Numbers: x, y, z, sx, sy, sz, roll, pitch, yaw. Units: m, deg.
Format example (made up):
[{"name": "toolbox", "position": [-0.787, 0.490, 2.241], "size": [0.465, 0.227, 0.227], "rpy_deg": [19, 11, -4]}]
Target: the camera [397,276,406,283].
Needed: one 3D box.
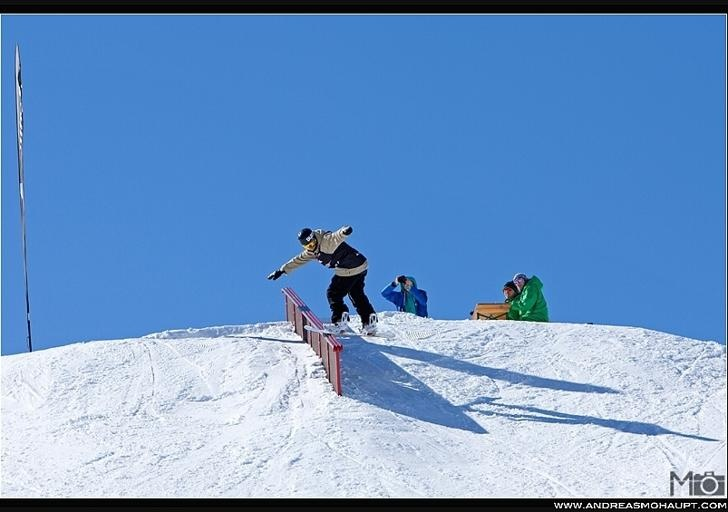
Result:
[{"name": "camera", "position": [0.897, 0.578, 27.583], "size": [0.133, 0.119, 0.265], "rpy_deg": [-5, -4, -34]}]

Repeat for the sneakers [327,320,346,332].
[{"name": "sneakers", "position": [-0.500, 1.321, 22.016], "size": [0.454, 0.154, 0.208], "rpy_deg": [2, -31, 6]}]

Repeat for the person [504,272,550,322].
[{"name": "person", "position": [3.300, 0.917, 23.438], "size": [0.878, 1.434, 0.726], "rpy_deg": [0, -27, 7]}]
